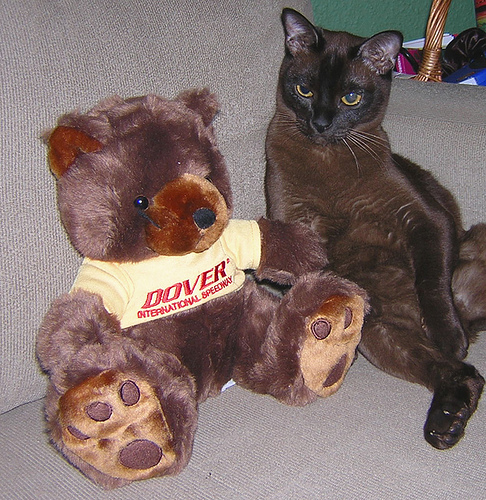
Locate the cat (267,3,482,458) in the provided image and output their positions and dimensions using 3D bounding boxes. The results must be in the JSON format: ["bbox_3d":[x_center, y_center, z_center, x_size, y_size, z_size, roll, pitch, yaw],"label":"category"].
[{"bbox_3d":[0.152,-0.005,1.087,0.385,0.410,0.707,-19,84,19],"label":"cat"}]
